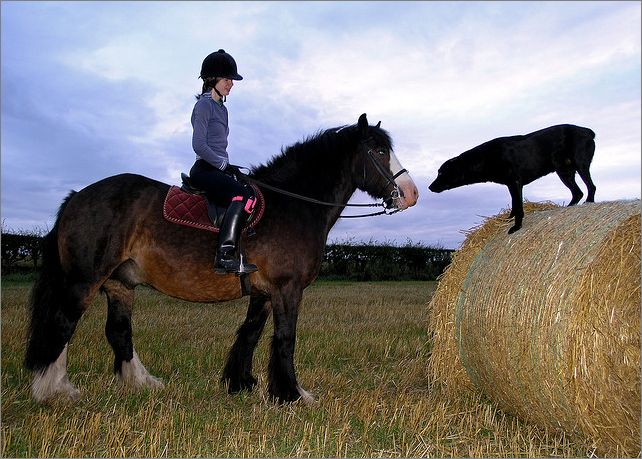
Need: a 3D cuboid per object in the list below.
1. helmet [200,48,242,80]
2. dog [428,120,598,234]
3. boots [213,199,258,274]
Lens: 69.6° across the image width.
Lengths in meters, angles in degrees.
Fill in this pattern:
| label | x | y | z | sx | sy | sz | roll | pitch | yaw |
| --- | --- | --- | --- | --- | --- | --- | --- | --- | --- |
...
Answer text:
| label | x | y | z | sx | sy | sz | roll | pitch | yaw |
| --- | --- | --- | --- | --- | --- | --- | --- | --- | --- |
| helmet | -1.157 | -1.939 | 5.394 | 0.540 | 0.326 | 0.420 | 5 | 25 | 1 |
| dog | 2.362 | -0.591 | 5.493 | 2.098 | 1.146 | 0.547 | -14 | 3 | 3 |
| boots | -0.886 | 0.075 | 4.849 | 0.430 | 0.615 | 0.264 | 2 | 1 | -14 |
